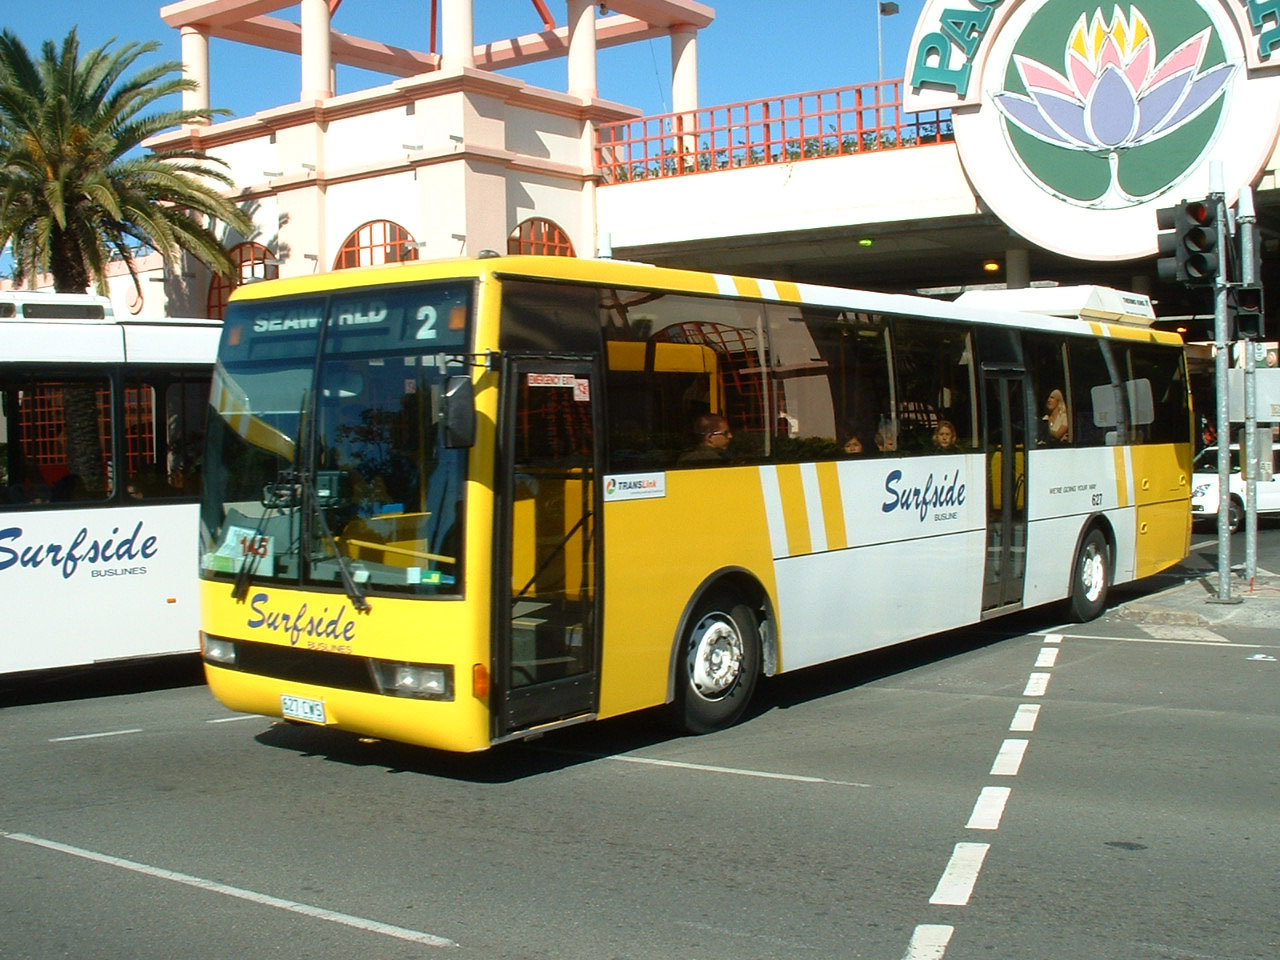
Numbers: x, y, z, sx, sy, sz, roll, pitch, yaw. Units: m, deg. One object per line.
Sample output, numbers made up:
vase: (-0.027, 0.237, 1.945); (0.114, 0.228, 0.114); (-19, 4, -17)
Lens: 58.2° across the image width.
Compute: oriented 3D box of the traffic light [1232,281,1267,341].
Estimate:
traffic light: (7.846, -2.150, 14.789); (0.355, 0.681, 0.711); (0, 2, 24)

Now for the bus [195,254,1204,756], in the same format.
bus: (1.842, 0.097, 12.479); (3.510, 3.735, 12.483); (0, -1, 41)
